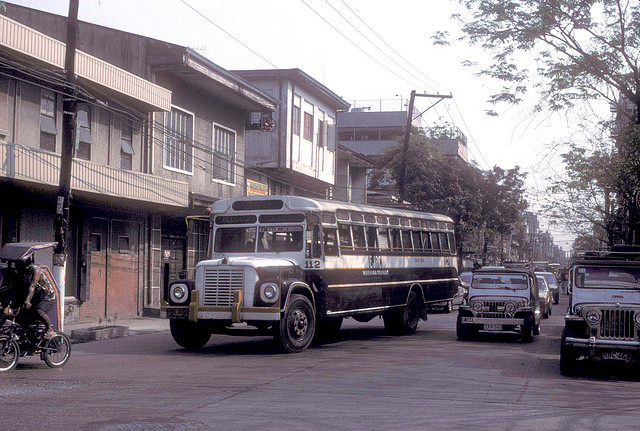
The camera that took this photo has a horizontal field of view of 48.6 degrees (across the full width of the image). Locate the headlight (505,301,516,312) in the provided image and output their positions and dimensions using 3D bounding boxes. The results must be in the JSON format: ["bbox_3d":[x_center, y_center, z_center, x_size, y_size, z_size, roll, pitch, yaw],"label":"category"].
[{"bbox_3d":[5.843,2.804,21.830,0.397,0.444,0.229,-1,0,7],"label":"headlight"}]

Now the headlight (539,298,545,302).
[{"bbox_3d":[9.532,3.611,30.274,0.090,0.150,0.518,-5,-10,36],"label":"headlight"}]

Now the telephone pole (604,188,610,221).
[{"bbox_3d":[16.052,-0.715,39.526,0.225,0.241,2.332,-15,-34,5],"label":"telephone pole"}]

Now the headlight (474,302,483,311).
[{"bbox_3d":[4.915,2.829,21.906,0.212,0.236,0.082,-5,-4,6],"label":"headlight"}]

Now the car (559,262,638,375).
[{"bbox_3d":[6.649,2.390,16.788,1.753,2.707,1.872,-3,-8,25],"label":"car"}]

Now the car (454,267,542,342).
[{"bbox_3d":[5.748,2.819,22.765,2.499,2.410,2.261,-2,-8,15],"label":"car"}]

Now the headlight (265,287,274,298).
[{"bbox_3d":[-1.293,1.988,18.326,0.221,0.249,0.233,-3,-2,2],"label":"headlight"}]

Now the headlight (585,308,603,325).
[{"bbox_3d":[6.358,2.341,16.425,0.342,0.379,0.116,11,-1,7],"label":"headlight"}]

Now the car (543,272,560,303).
[{"bbox_3d":[13.748,4.147,41.134,1.398,1.380,2.669,-2,-8,15],"label":"car"}]
